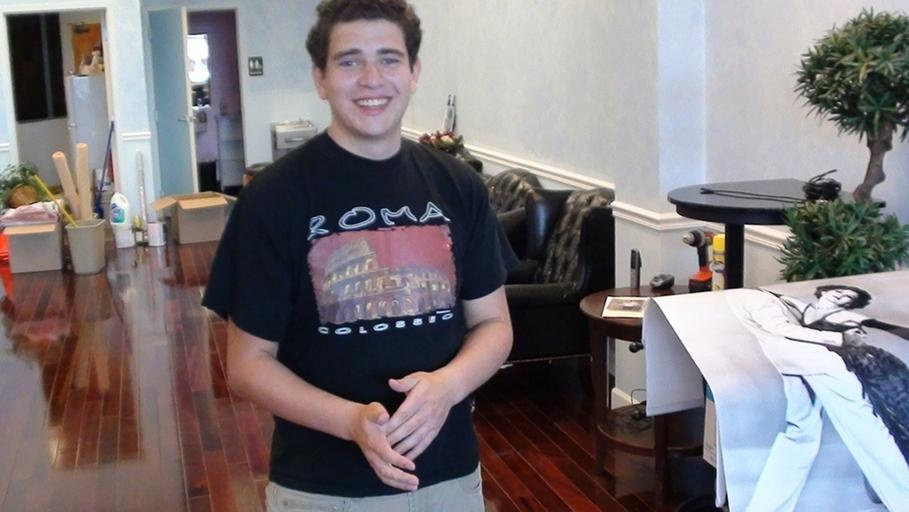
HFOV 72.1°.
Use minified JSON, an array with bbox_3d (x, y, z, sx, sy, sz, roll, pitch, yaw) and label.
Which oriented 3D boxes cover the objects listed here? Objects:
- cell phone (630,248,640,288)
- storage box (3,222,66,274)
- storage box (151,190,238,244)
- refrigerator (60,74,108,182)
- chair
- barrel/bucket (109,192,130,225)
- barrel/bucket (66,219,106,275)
[{"bbox_3d":[1.116,0.081,3.861,0.056,0.243,0.058,-3,10,5],"label":"cell phone"},{"bbox_3d":[-4.913,-0.135,7.495,0.601,0.559,0.594,-1,13,-13],"label":"storage box"},{"bbox_3d":[-3.466,-0.488,8.667,1.131,0.549,1.214,-13,-4,41],"label":"storage box"},{"bbox_3d":[-5.470,-1.999,9.497,0.723,1.272,0.640,-3,9,-16],"label":"refrigerator"},{"bbox_3d":[0.545,0.226,4.705,1.193,1.163,1.092,2,14,12],"label":"chair"},{"bbox_3d":[-4.433,-0.626,8.276,0.200,0.405,0.186,-3,10,1],"label":"barrel/bucket"},{"bbox_3d":[-4.249,-0.114,7.285,0.343,0.605,0.404,6,13,43],"label":"barrel/bucket"}]
